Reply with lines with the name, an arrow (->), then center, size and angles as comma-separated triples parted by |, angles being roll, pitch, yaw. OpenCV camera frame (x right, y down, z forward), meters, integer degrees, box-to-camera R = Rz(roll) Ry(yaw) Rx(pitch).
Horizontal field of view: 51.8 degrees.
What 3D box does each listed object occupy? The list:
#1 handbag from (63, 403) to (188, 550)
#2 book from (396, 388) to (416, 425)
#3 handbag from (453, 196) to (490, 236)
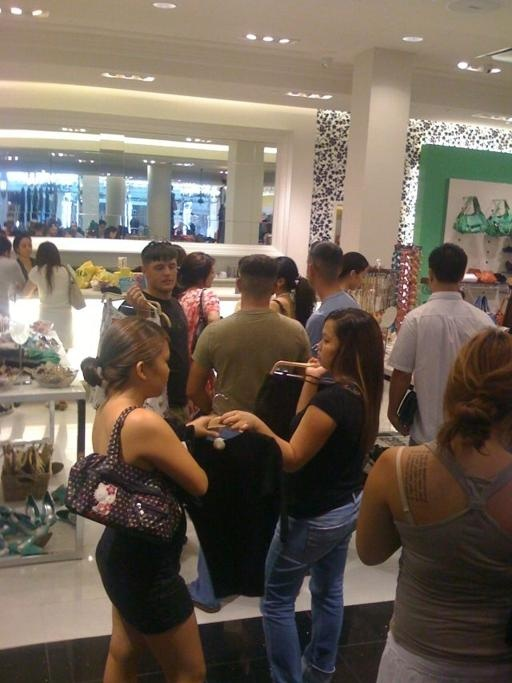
handbag -> -0.300, 0.327, 1.264 | 0.275, 0.263, 0.139 | 28, -21, -20
book -> 0.698, 0.307, 2.455 | 0.068, 0.164, 0.130 | 14, 22, 3
handbag -> 3.223, -1.882, 7.973 | 0.661, 0.622, 0.315 | 1, 7, 0
